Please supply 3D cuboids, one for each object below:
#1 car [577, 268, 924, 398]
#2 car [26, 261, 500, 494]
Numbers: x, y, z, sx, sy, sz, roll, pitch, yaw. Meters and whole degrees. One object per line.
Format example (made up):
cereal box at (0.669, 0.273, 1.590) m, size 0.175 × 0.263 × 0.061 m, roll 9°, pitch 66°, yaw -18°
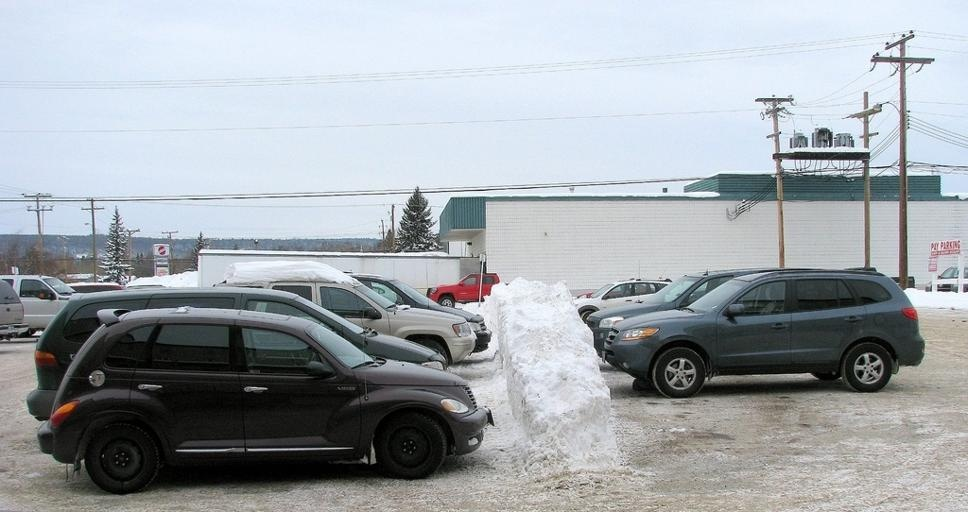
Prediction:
car at (6.920, 1.900, 21.891) m, size 7.621 × 2.338 × 3.147 m, roll 0°, pitch -5°, yaw 0°
car at (-4.458, 2.783, 18.235) m, size 8.447 × 2.618 × 3.661 m, roll -1°, pitch -1°, yaw -6°
